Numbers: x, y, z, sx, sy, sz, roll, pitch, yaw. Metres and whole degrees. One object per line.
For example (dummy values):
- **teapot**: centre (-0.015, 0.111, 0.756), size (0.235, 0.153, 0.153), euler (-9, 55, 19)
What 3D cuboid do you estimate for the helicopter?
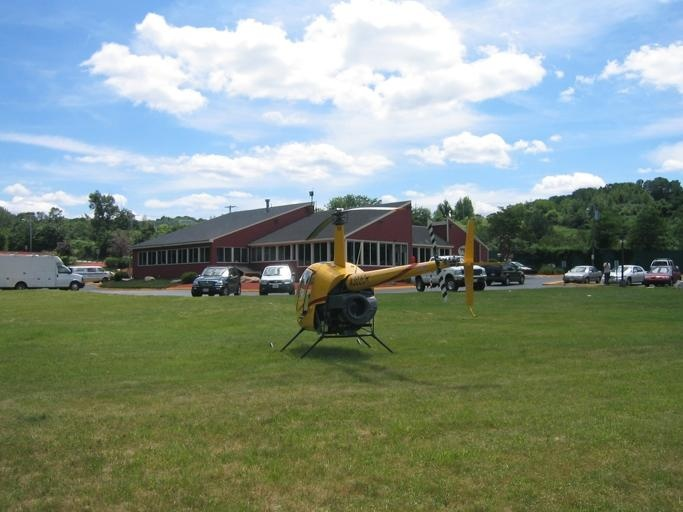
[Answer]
- **helicopter**: centre (0.422, 0.677, 13.832), size (3.797, 3.492, 2.557), euler (1, 10, 3)
